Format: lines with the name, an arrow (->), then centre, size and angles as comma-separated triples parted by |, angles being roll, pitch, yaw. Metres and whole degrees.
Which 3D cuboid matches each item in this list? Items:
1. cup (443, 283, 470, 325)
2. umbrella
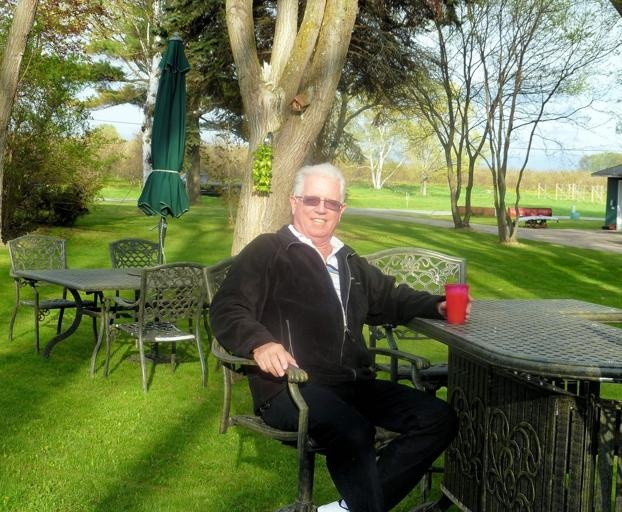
cup -> 0.774, 0.248, 2.672 | 0.157, 0.278, 0.185 | 0, 0, 7
umbrella -> -2.114, -1.522, 7.252 | 0.678, 3.261, 0.867 | 1, 7, -12
